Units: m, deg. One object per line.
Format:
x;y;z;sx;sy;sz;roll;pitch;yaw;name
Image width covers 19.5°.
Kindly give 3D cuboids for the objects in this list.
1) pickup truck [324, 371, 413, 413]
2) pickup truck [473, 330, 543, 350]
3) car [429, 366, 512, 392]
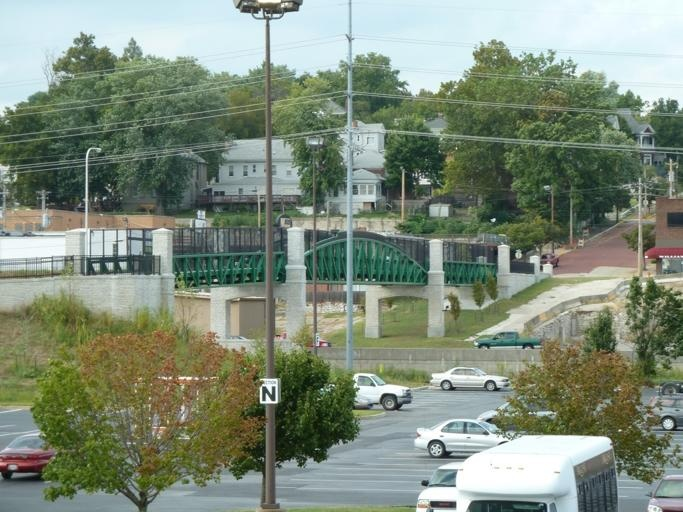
3.289;11.619;167.056;5.354;2.395;2.727;-2;0;7;pickup truck
15.709;8.147;184.306;4.898;1.640;2.256;1;-3;15;pickup truck
11.602;11.110;176.521;6.535;2.112;2.683;-2;-1;13;car
